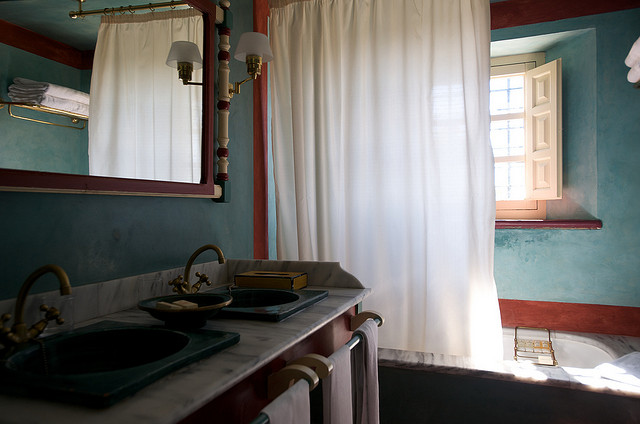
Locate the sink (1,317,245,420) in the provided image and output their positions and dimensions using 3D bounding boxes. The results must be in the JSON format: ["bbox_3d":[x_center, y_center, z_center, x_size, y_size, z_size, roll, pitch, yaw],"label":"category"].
[{"bbox_3d":[-0.736,0.536,1.615,0.689,0.162,0.484,-2,4,-43],"label":"sink"}]

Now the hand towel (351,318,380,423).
[{"bbox_3d":[0.221,0.757,2.119,0.078,0.395,0.243,4,6,18],"label":"hand towel"}]

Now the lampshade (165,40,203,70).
[{"bbox_3d":[-0.745,-0.861,2.468,0.209,0.145,0.207,0,5,-6],"label":"lampshade"}]

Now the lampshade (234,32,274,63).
[{"bbox_3d":[-0.393,-0.992,2.703,0.251,0.138,0.244,-3,5,-42],"label":"lampshade"}]

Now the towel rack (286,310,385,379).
[{"bbox_3d":[0.107,0.624,2.155,0.215,0.139,0.796,-2,2,25],"label":"towel rack"}]
